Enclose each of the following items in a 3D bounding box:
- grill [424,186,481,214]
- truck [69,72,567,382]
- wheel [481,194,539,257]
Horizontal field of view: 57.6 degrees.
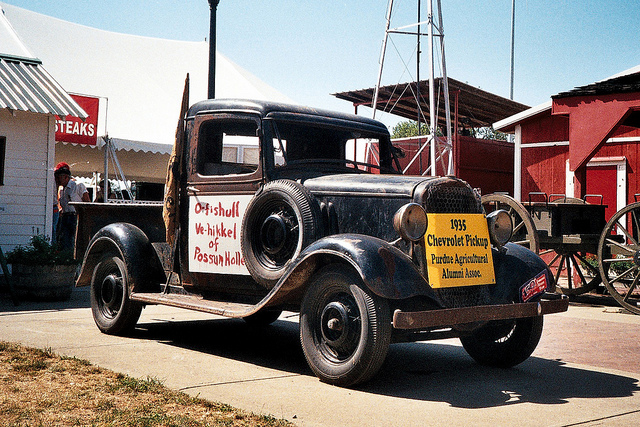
[{"bbox_3d":[1.586,-0.154,6.819,0.976,0.354,0.119,4,-3,-37],"label":"grill"},{"bbox_3d":[-0.168,0.061,7.743,6.247,3.769,2.213,0,-3,29],"label":"truck"},{"bbox_3d":[3.721,0.166,11.198,1.026,1.131,0.791,0,-3,33],"label":"wheel"}]
